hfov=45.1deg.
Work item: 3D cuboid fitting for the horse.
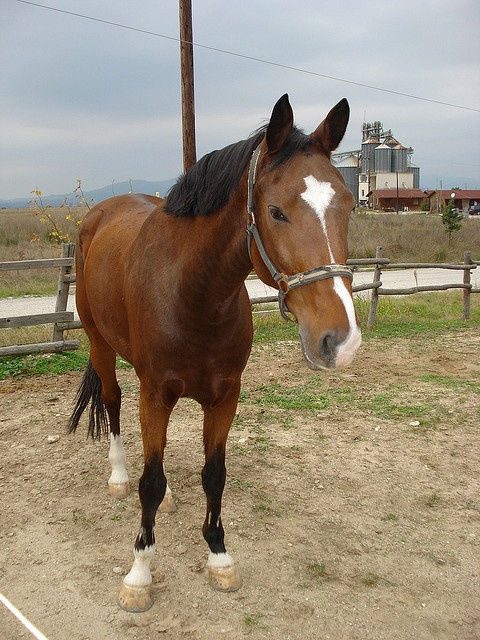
[{"bbox_3d":[-0.405,0.215,3.038,0.632,2.216,2.775,-1,7,-31],"label":"horse"}]
